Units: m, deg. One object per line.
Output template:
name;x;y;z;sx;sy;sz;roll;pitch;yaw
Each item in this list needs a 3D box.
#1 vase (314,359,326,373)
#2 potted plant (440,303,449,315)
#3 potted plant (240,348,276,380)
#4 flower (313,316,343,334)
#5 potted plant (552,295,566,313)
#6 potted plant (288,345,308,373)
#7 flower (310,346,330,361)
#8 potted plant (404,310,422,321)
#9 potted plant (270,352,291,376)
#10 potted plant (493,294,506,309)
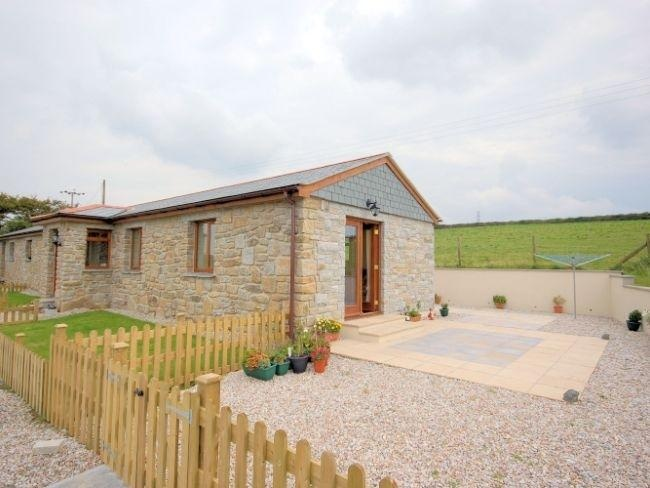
vase;-0.145;3.024;11.100;0.301;0.250;0.316;-1;-11;5
potted plant;4.586;2.549;17.365;0.275;0.470;0.393;-3;-3;5
potted plant;-1.590;2.877;10.796;0.690;0.447;0.648;-4;-4;41
flower;-0.055;2.293;12.743;0.532;0.292;0.528;2;-3;-32
potted plant;9.417;2.501;18.448;0.597;0.850;0.628;-2;-5;44
potted plant;-0.674;2.890;11.133;0.540;0.429;0.566;-1;-9;10
flower;-0.117;2.734;11.224;0.338;0.285;0.412;3;-4;-18
potted plant;2.989;2.478;15.373;0.355;0.291;0.468;-1;-2;20
potted plant;-1.092;2.939;11.130;0.480;0.640;0.538;-5;-7;38
potted plant;7.531;2.566;19.634;0.550;0.556;0.532;2;-6;3
